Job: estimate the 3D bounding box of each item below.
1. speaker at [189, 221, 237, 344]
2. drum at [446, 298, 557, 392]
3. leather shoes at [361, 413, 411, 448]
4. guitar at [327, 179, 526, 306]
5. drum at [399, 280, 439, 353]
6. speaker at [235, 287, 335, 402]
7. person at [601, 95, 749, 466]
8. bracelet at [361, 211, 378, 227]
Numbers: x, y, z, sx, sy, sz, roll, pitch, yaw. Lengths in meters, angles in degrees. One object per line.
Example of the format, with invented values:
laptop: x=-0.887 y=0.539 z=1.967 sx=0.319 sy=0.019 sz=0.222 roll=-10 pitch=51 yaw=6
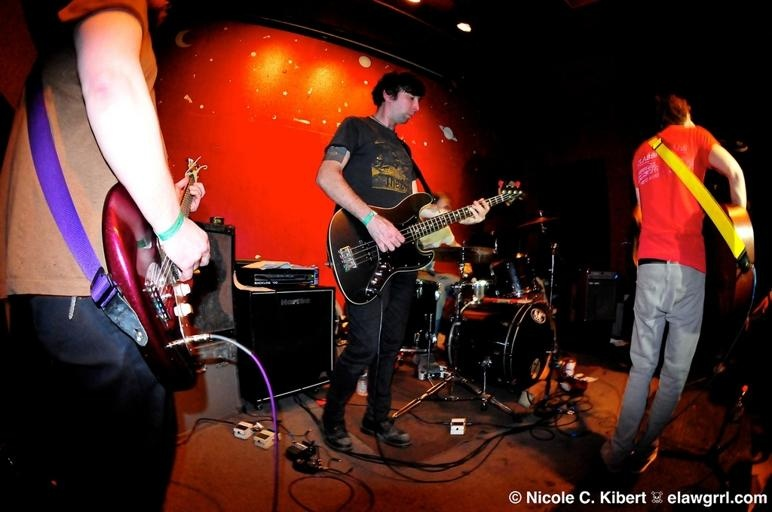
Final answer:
speaker: x=-1.261 y=0.199 z=3.888 sx=0.185 sy=0.678 sz=0.678 roll=1 pitch=1 yaw=8
drum: x=0.971 y=0.712 z=4.409 sx=0.744 sy=0.778 sz=0.766 roll=1 pitch=5 yaw=35
leather shoes: x=-0.006 y=1.193 z=3.668 sx=0.341 sy=0.145 sz=0.160 roll=10 pitch=-4 yaw=23
guitar: x=0.321 y=-0.217 z=3.693 sx=1.593 sy=0.643 sz=0.246 roll=-20 pitch=21 yaw=-14
drum: x=0.325 y=0.580 z=4.912 sx=0.406 sy=0.642 sz=0.158 roll=8 pitch=2 yaw=-35
speaker: x=-0.801 y=0.665 z=3.985 sx=0.909 sy=0.965 sz=0.337 roll=0 pitch=-1 yaw=-43
person: x=1.875 y=0.175 z=3.443 sx=0.646 sy=2.453 sz=0.640 roll=7 pitch=9 yaw=24
bracelet: x=-0.115 y=-0.237 z=3.449 sx=0.093 sy=0.086 sz=0.089 roll=-43 pitch=17 yaw=-32
